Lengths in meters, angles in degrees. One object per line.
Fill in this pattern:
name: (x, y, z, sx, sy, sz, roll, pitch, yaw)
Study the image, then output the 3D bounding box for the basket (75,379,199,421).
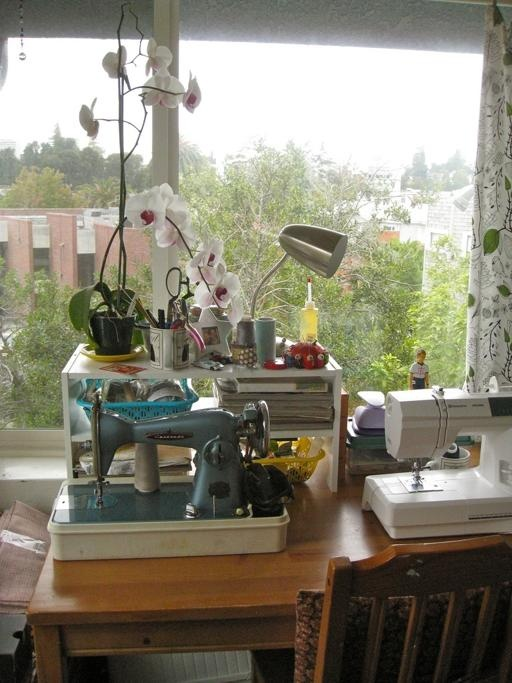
basket: (-0.314, 0.116, 1.615, 0.301, 0.094, 0.216, -7, 16, -23)

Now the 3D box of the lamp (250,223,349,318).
lamp: (0.100, -0.167, 1.443, 0.124, 0.240, 0.171, -2, 7, -22)

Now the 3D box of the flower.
flower: (-0.265, -0.440, 1.621, 0.423, 0.940, 0.572, 0, 13, -16)

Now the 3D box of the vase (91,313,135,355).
vase: (-0.355, -0.020, 1.544, 0.095, 0.108, 0.078, -6, 19, -25)
